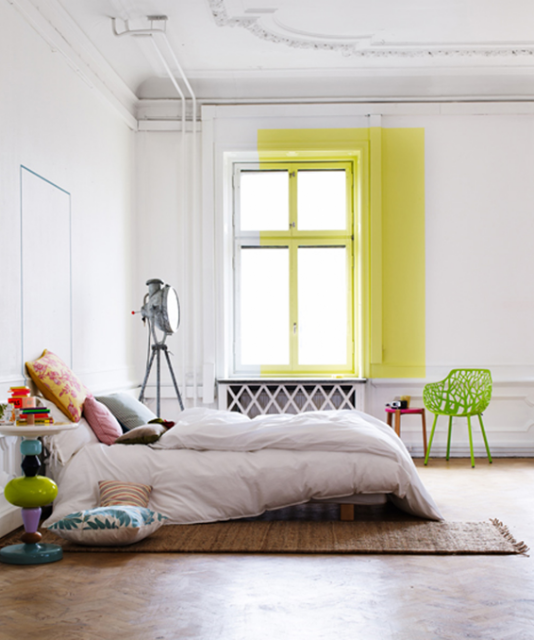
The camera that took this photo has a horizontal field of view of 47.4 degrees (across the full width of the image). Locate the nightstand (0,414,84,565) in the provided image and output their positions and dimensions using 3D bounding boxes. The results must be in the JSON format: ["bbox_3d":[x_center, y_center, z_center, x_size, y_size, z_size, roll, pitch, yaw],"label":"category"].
[{"bbox_3d":[-1.080,0.733,2.875,0.317,0.703,0.685,0,0,-23],"label":"nightstand"}]

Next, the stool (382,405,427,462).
[{"bbox_3d":[1.264,1.077,5.688,0.384,0.459,0.393,-5,-13,-26],"label":"stool"}]

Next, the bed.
[{"bbox_3d":[0.012,0.756,3.975,1.929,0.572,1.527,7,7,-18],"label":"bed"}]

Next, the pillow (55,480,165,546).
[{"bbox_3d":[-0.694,0.916,2.944,0.274,0.160,0.396,-1,-11,6],"label":"pillow"}]

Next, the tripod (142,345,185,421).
[{"bbox_3d":[-0.963,0.540,5.577,0.458,0.625,0.434,10,12,32],"label":"tripod"}]
